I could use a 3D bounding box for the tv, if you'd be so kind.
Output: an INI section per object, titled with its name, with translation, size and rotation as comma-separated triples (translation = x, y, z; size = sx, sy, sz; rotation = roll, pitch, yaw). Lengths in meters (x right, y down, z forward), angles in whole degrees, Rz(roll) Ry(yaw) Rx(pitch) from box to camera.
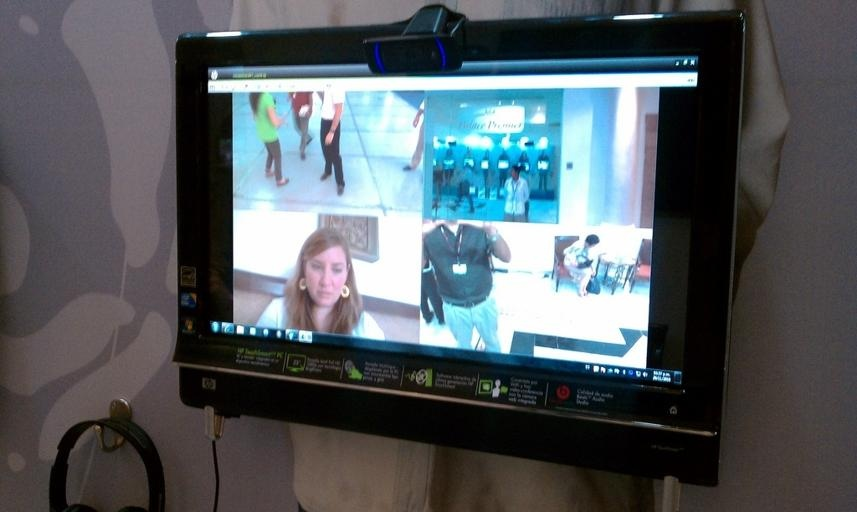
[tv]
translation = 0.115, -0.053, 1.931
size = 1.185, 0.932, 0.155
rotation = 4, 5, 14

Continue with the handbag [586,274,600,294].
[handbag]
translation = 0.410, 0.070, 1.884
size = 0.040, 0.063, 0.030
rotation = 3, -7, 6
